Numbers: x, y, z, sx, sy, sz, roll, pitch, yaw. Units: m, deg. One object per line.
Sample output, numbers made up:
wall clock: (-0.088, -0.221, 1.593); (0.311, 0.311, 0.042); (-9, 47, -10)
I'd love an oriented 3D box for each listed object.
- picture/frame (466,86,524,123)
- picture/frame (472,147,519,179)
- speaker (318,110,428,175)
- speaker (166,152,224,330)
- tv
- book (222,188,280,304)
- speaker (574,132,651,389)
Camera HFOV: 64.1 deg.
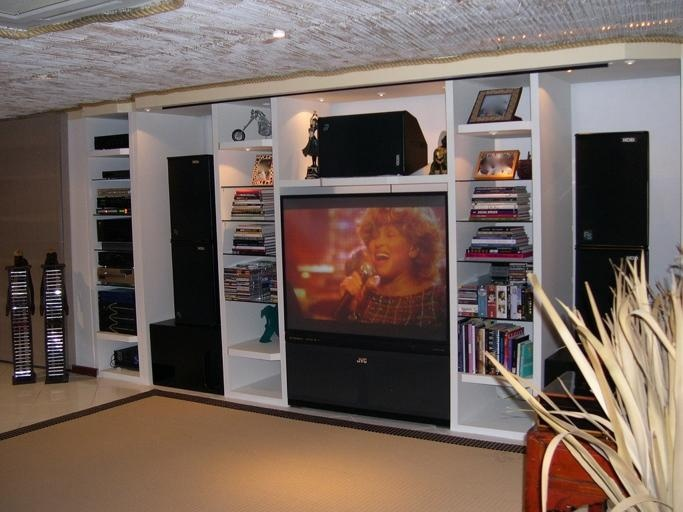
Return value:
picture/frame: (1.140, -1.151, 4.129); (0.409, 0.348, 0.052); (-1, -29, 26)
picture/frame: (1.179, -0.706, 4.196); (0.288, 0.199, 0.030); (6, -15, 31)
speaker: (0.282, -0.955, 4.719); (0.974, 0.475, 0.955); (-1, 11, 4)
speaker: (-1.350, -0.155, 5.552); (0.751, 1.648, 0.566); (-1, 0, 32)
tv: (0.219, 0.093, 4.384); (1.351, 0.998, 0.063); (1, 6, 26)
book: (-0.856, -0.101, 5.033); (0.492, 1.049, 0.338); (-3, 7, -9)
speaker: (2.101, -0.002, 4.343); (0.562, 1.562, 0.531); (0, -17, 25)
